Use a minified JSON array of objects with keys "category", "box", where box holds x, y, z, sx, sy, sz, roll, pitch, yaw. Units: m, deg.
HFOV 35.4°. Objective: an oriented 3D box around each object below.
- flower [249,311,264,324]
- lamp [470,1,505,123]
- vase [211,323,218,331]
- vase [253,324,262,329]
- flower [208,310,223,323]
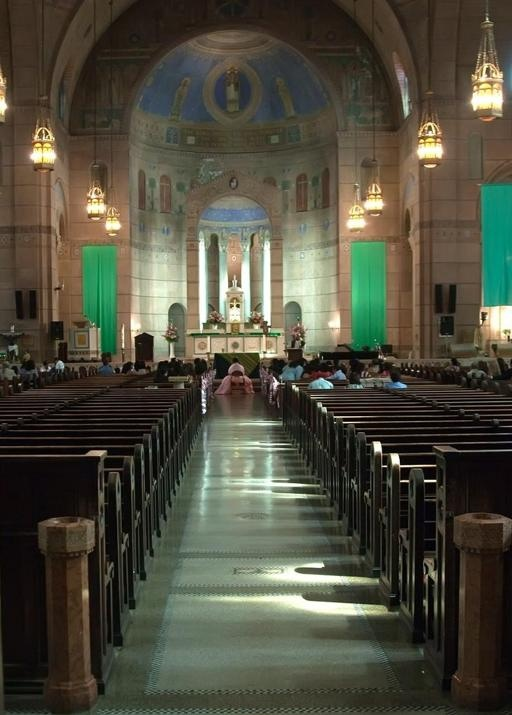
[{"category":"flower","box":[0.026,-1.451,30.943,0.460,0.474,0.455,1,-9,-1]},{"category":"lamp","box":[4.076,-5.257,14.173,0.543,2.327,2.639,-1,3,16]},{"category":"vase","box":[-1.614,-1.087,31.010,0.255,0.310,0.257,-2,5,-14]},{"category":"vase","box":[0.024,-1.126,30.860,0.204,0.202,0.207,1,2,3]},{"category":"flower","box":[-1.577,-1.475,30.924,0.529,0.549,0.529,0,-1,2]}]
